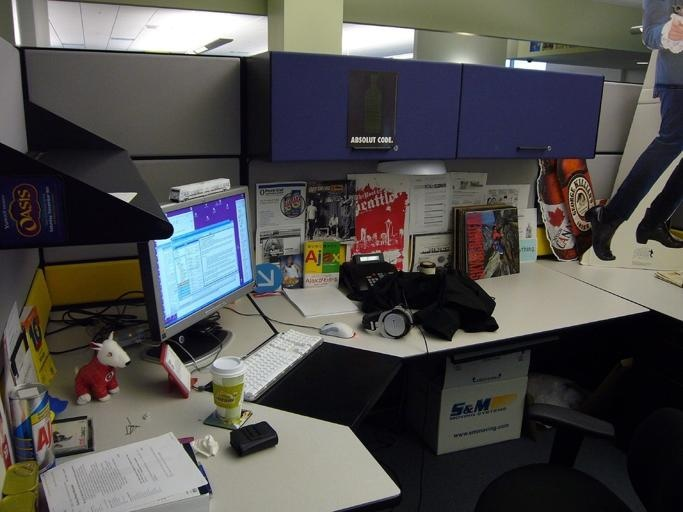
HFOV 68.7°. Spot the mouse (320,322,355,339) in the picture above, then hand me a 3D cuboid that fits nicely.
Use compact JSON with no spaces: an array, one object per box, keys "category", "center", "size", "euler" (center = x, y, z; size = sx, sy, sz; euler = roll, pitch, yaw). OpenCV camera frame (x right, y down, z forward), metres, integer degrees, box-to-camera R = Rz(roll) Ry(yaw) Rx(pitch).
[{"category":"mouse","center":[-0.018,0.265,1.851],"size":[0.103,0.037,0.059],"euler":[6,12,14]}]

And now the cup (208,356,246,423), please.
[{"category":"cup","center":[-0.324,0.384,1.432],"size":[0.108,0.156,0.111],"euler":[2,7,0]}]

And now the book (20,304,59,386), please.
[{"category":"book","center":[-0.938,0.281,1.543],"size":[0.022,0.176,0.223],"euler":[-15,-6,-6]}]

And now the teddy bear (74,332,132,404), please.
[{"category":"teddy bear","center":[-0.726,0.331,1.506],"size":[0.178,0.197,0.145],"euler":[6,7,0]}]

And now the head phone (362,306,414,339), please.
[{"category":"head phone","center":[0.172,0.259,1.916],"size":[0.198,0.104,0.153],"euler":[-8,-7,33]}]

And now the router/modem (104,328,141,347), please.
[{"category":"router/modem","center":[-0.764,0.270,1.736],"size":[0.106,0.028,0.080],"euler":[-6,19,-24]}]

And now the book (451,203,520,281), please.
[{"category":"book","center":[0.682,-0.060,2.434],"size":[0.336,0.334,0.122],"euler":[-5,4,-31]}]

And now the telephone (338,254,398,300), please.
[{"category":"telephone","center":[0.123,0.074,2.256],"size":[0.269,0.117,0.263],"euler":[-7,21,-23]}]

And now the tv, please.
[{"category":"tv","center":[-0.540,0.067,1.790],"size":[0.209,0.558,0.542],"euler":[7,17,24]}]

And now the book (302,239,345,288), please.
[{"category":"book","center":[-0.094,0.035,2.245],"size":[0.190,0.242,0.078],"euler":[0,17,-9]}]
